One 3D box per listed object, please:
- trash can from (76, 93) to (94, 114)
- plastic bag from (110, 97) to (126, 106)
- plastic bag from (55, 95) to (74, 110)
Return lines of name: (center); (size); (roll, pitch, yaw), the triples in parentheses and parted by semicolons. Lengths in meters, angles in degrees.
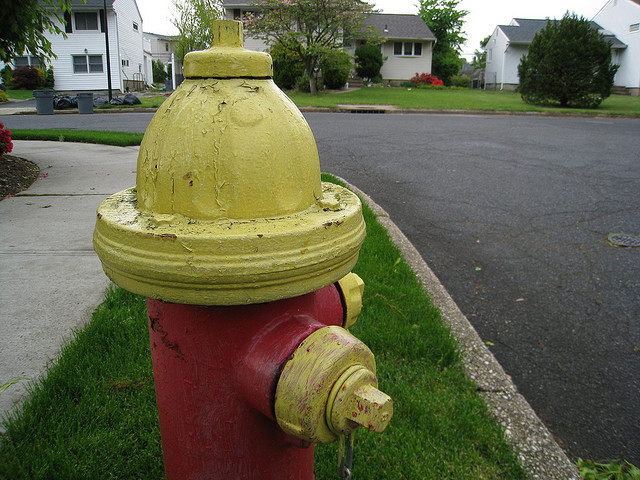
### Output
trash can: (-9.247, -5.354, 19.383); (0.547, 0.765, 0.792); (-7, 19, -25)
plastic bag: (-9.501, -6.434, 23.051); (0.646, 0.293, 0.534); (5, 16, 24)
plastic bag: (-11.553, -6.168, 22.229); (0.499, 0.296, 0.703); (3, 8, 18)
